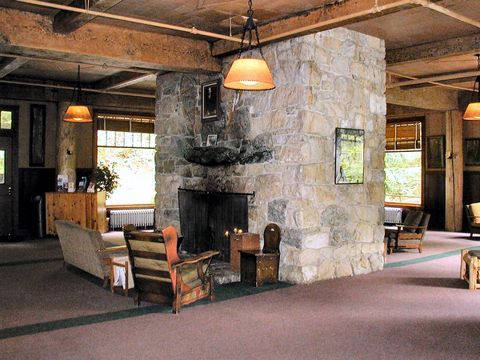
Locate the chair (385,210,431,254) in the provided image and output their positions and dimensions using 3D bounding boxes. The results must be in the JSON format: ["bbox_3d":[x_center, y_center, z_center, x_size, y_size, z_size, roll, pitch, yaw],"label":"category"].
[{"bbox_3d":[3.841,1.160,8.964,1.108,0.913,0.875,1,1,-13],"label":"chair"}]

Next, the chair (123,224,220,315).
[{"bbox_3d":[-0.943,1.190,5.332,1.013,1.057,1.326,-1,-5,16],"label":"chair"}]

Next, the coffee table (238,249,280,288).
[{"bbox_3d":[0.302,1.366,6.223,0.533,0.458,0.617,-2,4,-27],"label":"coffee table"}]

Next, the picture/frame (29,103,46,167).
[{"bbox_3d":[-5.817,-1.251,10.873,0.447,1.843,0.172,0,-1,-2],"label":"picture/frame"}]

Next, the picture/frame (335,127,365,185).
[{"bbox_3d":[1.852,-0.411,6.498,1.023,1.352,0.053,-1,0,-36],"label":"picture/frame"}]

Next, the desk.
[{"bbox_3d":[-4.487,0.922,10.630,1.528,1.194,0.822,0,3,6],"label":"desk"}]

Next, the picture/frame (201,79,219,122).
[{"bbox_3d":[-0.598,-1.583,7.647,0.071,0.784,0.559,-3,5,-43],"label":"picture/frame"}]
